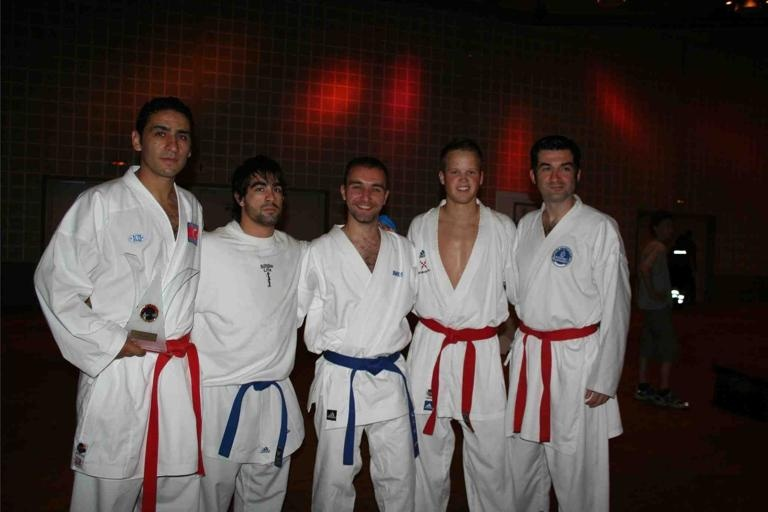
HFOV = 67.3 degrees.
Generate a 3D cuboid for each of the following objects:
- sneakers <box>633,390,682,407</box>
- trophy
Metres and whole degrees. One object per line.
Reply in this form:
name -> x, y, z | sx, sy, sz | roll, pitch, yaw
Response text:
sneakers -> 3.421, 1.761, 7.137 | 0.494, 0.195, 0.184 | 2, -4, 19
trophy -> -1.776, 0.304, 4.494 | 0.435, 0.795, 0.641 | 10, 14, 19
